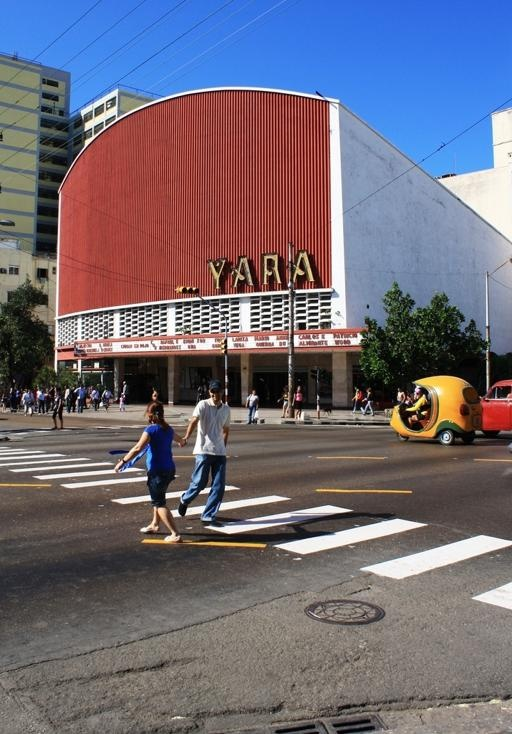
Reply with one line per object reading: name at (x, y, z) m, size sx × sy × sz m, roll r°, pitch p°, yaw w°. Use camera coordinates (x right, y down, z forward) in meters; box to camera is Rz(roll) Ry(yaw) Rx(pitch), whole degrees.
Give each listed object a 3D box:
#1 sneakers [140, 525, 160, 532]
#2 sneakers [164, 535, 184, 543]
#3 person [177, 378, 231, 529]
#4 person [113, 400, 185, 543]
sneakers at (-1.181, 1.792, 7.138) m, size 0.179 × 0.078 × 0.095 m, roll -6°, pitch -10°, yaw 44°
sneakers at (-0.861, 1.774, 6.720) m, size 0.212 × 0.078 × 0.177 m, roll -3°, pitch -2°, yaw 16°
person at (-0.582, 0.999, 7.493) m, size 0.577 × 1.659 × 0.438 m, roll -2°, pitch -2°, yaw -6°
person at (-1.152, 1.125, 7.328) m, size 0.692 × 1.449 × 1.401 m, roll -2°, pitch -2°, yaw -7°
